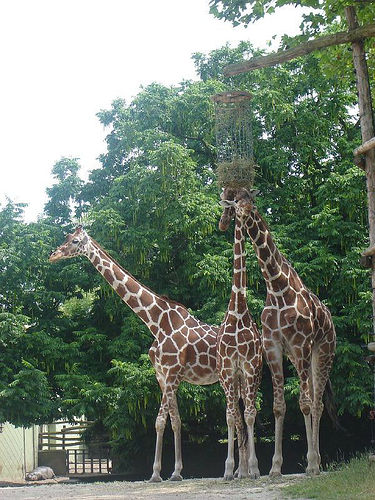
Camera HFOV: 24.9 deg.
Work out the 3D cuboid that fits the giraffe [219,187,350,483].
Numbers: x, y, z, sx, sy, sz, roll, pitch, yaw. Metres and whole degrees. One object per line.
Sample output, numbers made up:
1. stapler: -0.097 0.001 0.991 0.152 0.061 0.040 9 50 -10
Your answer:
1. giraffe: 1.370 1.111 11.584 1.132 3.838 2.402 -6 -11 12
